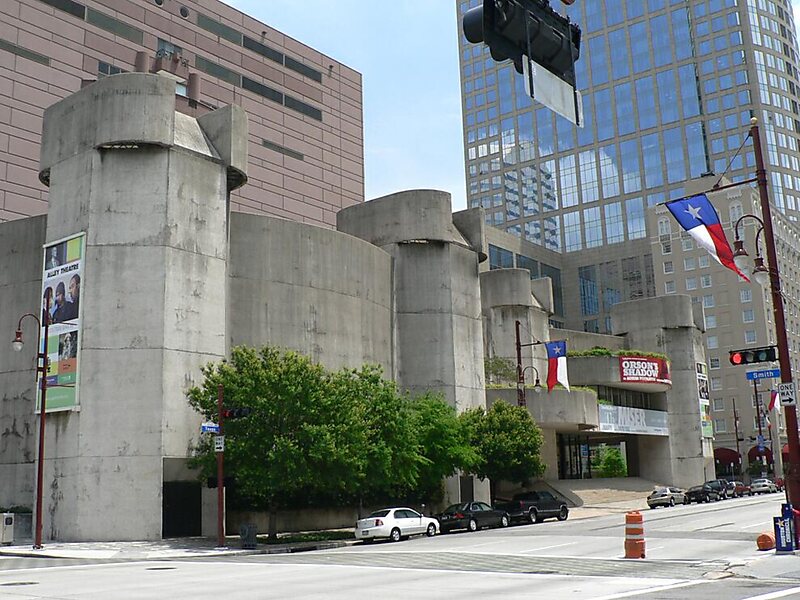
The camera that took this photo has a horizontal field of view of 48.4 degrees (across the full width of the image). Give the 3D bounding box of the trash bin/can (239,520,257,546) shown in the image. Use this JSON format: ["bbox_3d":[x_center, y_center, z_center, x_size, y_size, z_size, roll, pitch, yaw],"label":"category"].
[{"bbox_3d":[-6.980,10.843,40.908,0.805,0.999,0.948,1,-10,-9],"label":"trash bin/can"}]
